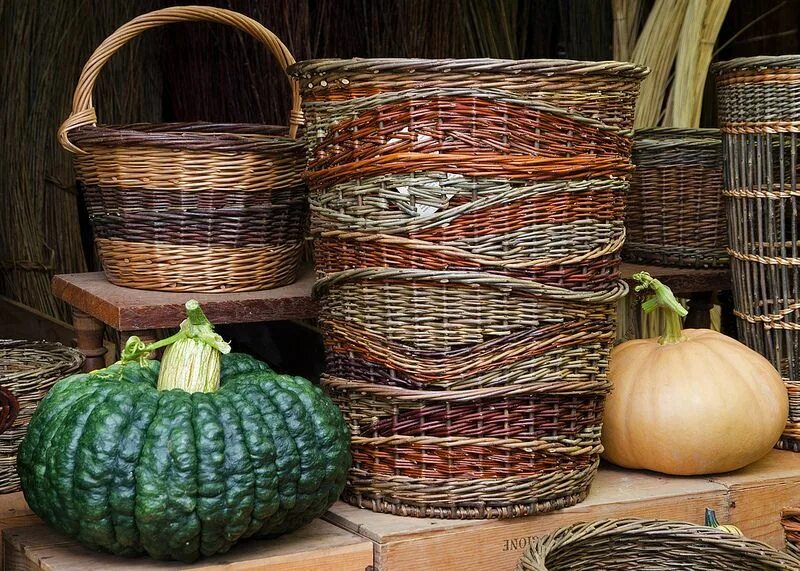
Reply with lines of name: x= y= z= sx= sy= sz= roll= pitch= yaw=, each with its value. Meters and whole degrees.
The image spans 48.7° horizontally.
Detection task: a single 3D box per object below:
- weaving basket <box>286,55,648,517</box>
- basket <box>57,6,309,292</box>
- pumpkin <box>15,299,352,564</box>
weaving basket: x=0.158 y=0.011 z=2.187 sx=0.839 sy=1.136 sz=0.444 roll=2 pitch=18 yaw=-5
basket: x=-0.652 y=-0.429 z=2.715 sx=0.621 sy=0.881 sz=0.447 roll=15 pitch=21 yaw=34
pumpkin: x=-0.445 y=0.314 z=2.198 sx=1.062 sy=0.394 sz=0.727 roll=-1 pitch=0 yaw=6
